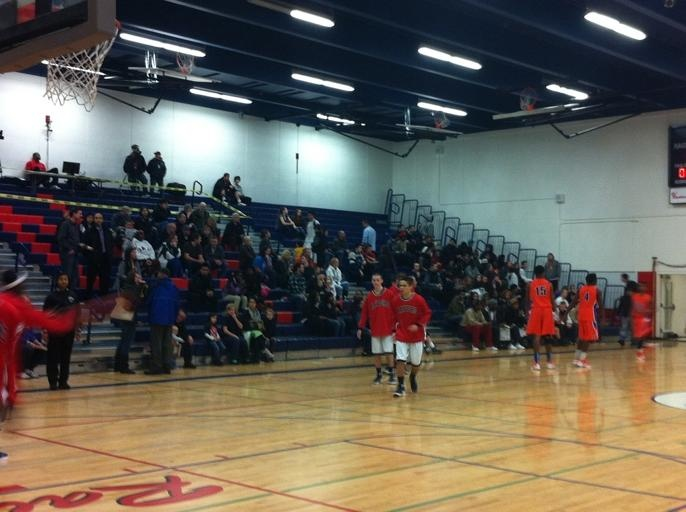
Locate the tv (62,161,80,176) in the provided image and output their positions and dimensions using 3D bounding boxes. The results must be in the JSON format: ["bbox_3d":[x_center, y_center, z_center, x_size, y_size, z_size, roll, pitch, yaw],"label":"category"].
[{"bbox_3d":[-9.273,-2.985,19.911,0.550,0.536,0.299,2,-17,-21],"label":"tv"}]

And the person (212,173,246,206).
[{"bbox_3d":[-4.640,-2.769,23.507,0.942,1.247,1.353,5,4,-43],"label":"person"}]

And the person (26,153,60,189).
[{"bbox_3d":[-10.227,-2.879,19.870,0.861,1.442,0.736,-10,-8,5],"label":"person"}]
